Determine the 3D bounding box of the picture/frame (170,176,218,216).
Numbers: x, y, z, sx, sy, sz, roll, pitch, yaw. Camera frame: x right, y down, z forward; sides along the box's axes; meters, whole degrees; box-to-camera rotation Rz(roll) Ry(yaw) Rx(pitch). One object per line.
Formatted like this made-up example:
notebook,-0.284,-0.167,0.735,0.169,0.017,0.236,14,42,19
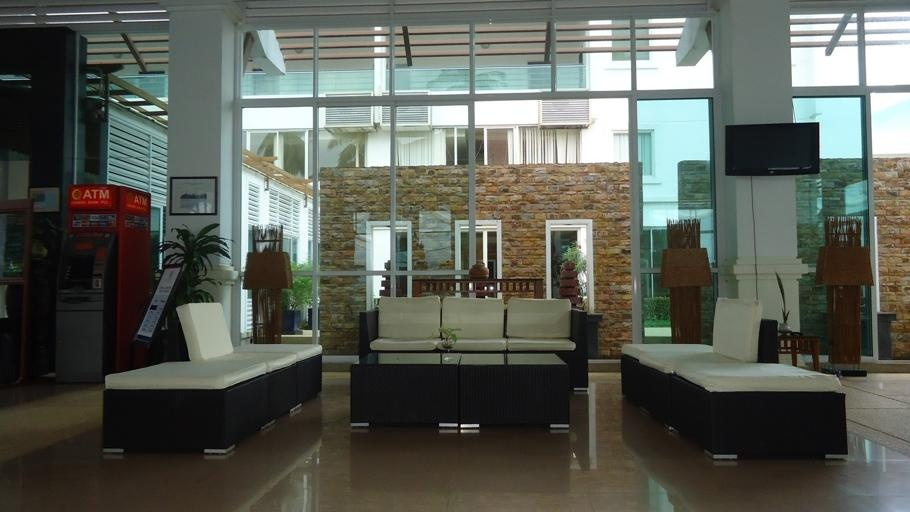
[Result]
picture/frame,-4.300,-0.978,12.352,0.764,0.546,0.042,0,-3,-6

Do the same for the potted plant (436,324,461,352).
potted plant,-0.116,1.167,10.766,0.378,0.391,0.438,-6,-8,42

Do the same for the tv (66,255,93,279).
tv,-5.559,0.157,11.215,0.426,0.340,0.094,0,-8,3

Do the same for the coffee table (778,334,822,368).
coffee table,5.302,1.512,11.570,0.493,0.370,0.507,-18,-10,30

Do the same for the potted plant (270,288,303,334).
potted plant,-2.928,0.903,12.812,0.527,0.646,0.481,-2,-15,-2

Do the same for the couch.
couch,0.273,1.257,11.400,3.460,1.096,1.121,0,7,6

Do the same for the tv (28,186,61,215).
tv,-6.664,-0.899,12.220,0.569,0.462,0.272,0,-6,-7
